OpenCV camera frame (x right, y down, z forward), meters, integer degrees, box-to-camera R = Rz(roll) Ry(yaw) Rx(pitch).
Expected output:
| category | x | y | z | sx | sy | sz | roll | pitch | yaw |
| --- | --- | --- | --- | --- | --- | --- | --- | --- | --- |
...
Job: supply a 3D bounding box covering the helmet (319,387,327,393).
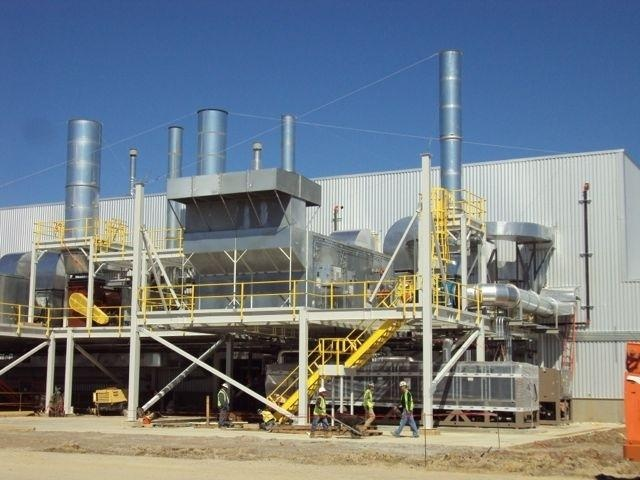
| category | x | y | z | sx | sy | sz | roll | pitch | yaw |
| --- | --- | --- | --- | --- | --- | --- | --- | --- | --- |
| helmet | 0.083 | 7.198 | 48.301 | 0.378 | 0.244 | 0.494 | -1 | -10 | -11 |
